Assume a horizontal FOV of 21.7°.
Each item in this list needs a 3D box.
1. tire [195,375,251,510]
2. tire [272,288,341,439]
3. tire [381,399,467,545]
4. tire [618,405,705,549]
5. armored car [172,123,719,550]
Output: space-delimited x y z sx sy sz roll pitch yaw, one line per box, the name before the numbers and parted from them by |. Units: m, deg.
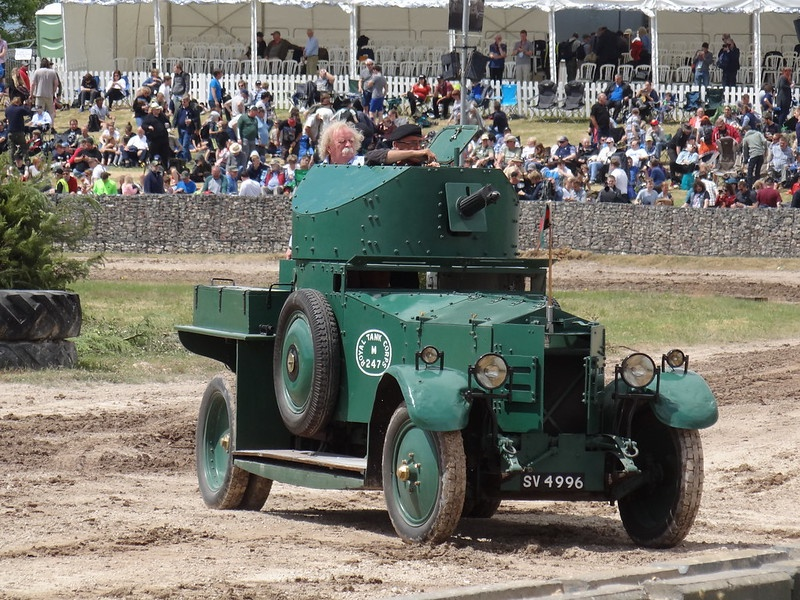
tire | -2.758 2.292 32.950 0.519 2.215 1.687 2 -5 -25
tire | -1.383 0.962 31.889 0.399 2.275 1.767 -1 8 -28
tire | 0.387 2.508 30.706 0.590 2.198 1.634 8 -1 -41
tire | 3.886 2.572 31.000 0.578 2.166 1.618 0 7 -31
armored car | 0.426 0.874 32.727 4.697 6.032 7.959 2 -5 -33
